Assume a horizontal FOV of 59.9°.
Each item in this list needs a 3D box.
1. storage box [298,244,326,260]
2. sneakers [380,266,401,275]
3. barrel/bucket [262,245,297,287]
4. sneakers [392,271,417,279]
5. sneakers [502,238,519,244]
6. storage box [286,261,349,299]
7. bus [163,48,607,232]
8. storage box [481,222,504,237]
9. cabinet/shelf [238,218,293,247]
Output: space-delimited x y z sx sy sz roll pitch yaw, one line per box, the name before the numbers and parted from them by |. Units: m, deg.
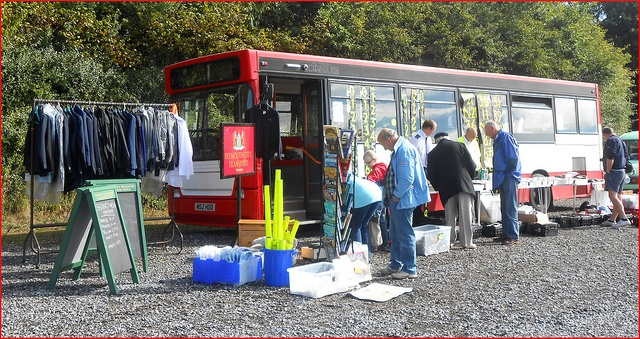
storage box | -0.175 2.283 15.536 0.506 0.357 0.529 -1 0 43
sneakers | 1.857 2.724 14.903 0.583 0.219 0.189 1 -1 20
barrel/bucket | -1.032 2.534 14.664 1.289 1.009 0.830 1 -7 5
sneakers | 2.223 2.809 14.628 0.640 0.228 0.223 4 -4 1
sneakers | 5.824 2.214 17.002 0.484 0.194 0.169 4 -2 7
storage box | -0.094 2.781 13.923 0.841 0.449 1.274 -2 -4 41
bus | 4.672 -0.812 21.765 19.233 4.705 6.044 1 -2 -29
storage box | 5.515 1.934 17.763 0.467 0.266 0.447 0 -1 -43
cabinet/shelf | -1.770 1.768 16.421 1.200 0.976 0.669 0 -7 3
